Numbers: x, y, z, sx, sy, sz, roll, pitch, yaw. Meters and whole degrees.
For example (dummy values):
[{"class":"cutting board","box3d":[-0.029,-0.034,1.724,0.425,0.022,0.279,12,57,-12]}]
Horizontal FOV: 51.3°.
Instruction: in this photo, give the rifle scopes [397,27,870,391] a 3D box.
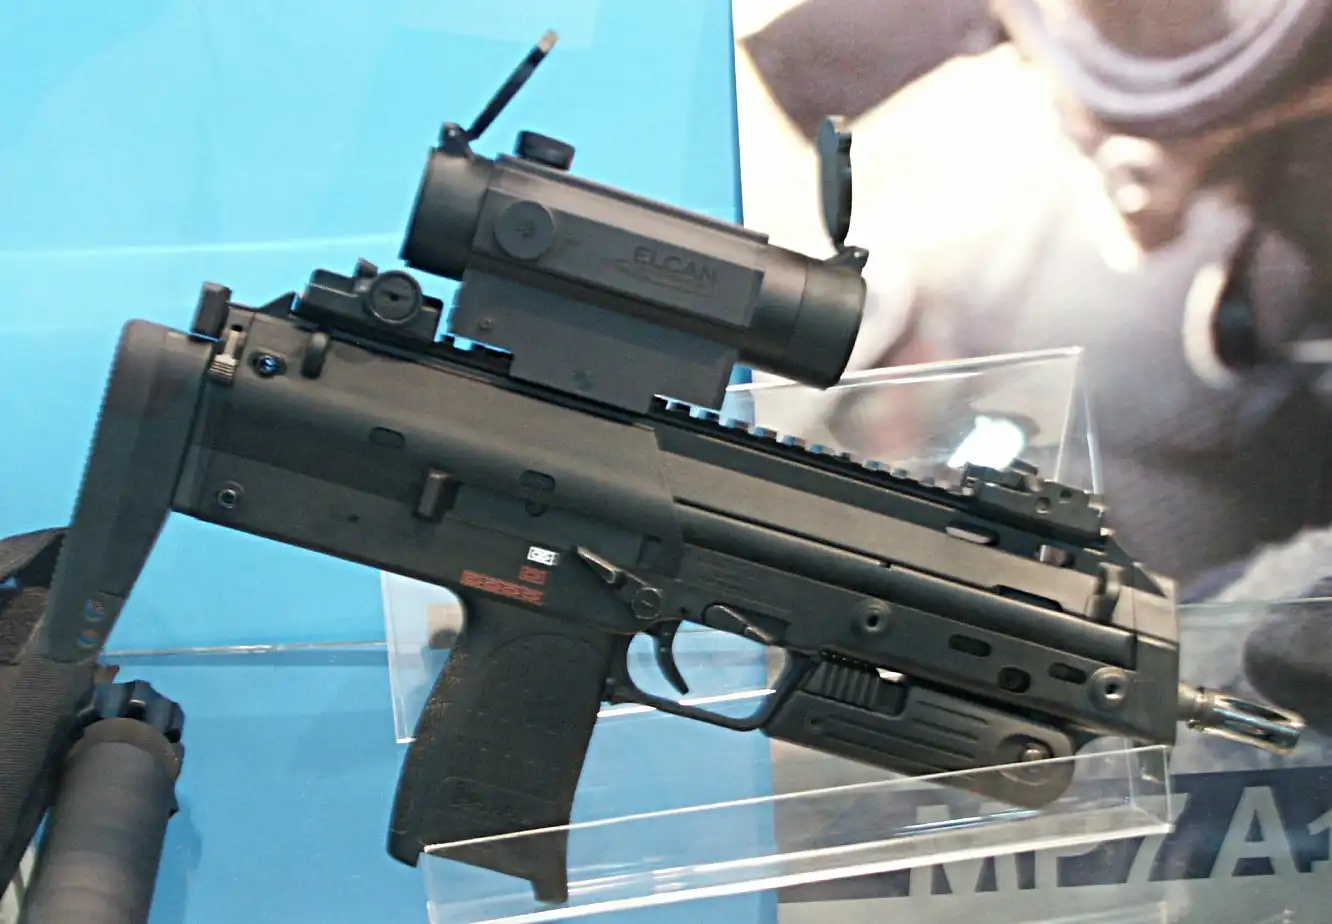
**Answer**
[{"class":"rifle scopes","box3d":[-0.042,-0.465,2.536,0.840,0.559,0.135,7,5,-6]}]
